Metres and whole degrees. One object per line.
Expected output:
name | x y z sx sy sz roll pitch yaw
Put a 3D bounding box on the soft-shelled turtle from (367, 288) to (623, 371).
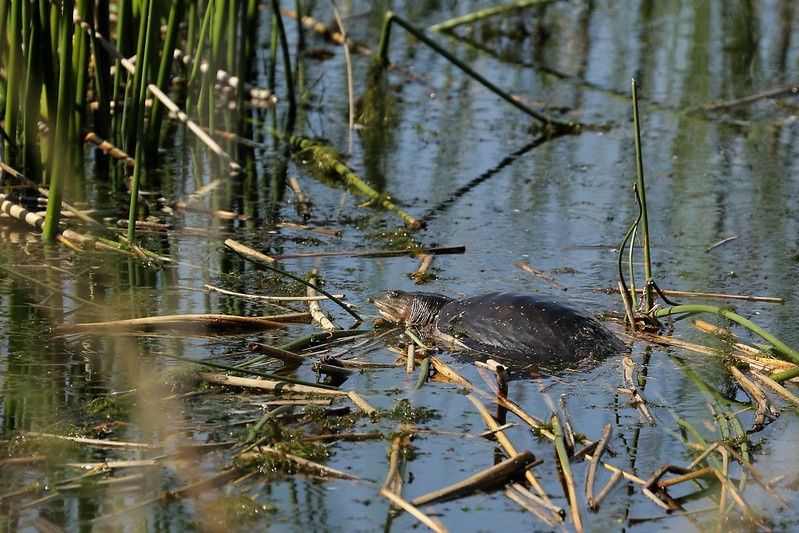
soft-shelled turtle | 0.704 0.417 6.126 1.371 0.155 0.673 4 6 21
